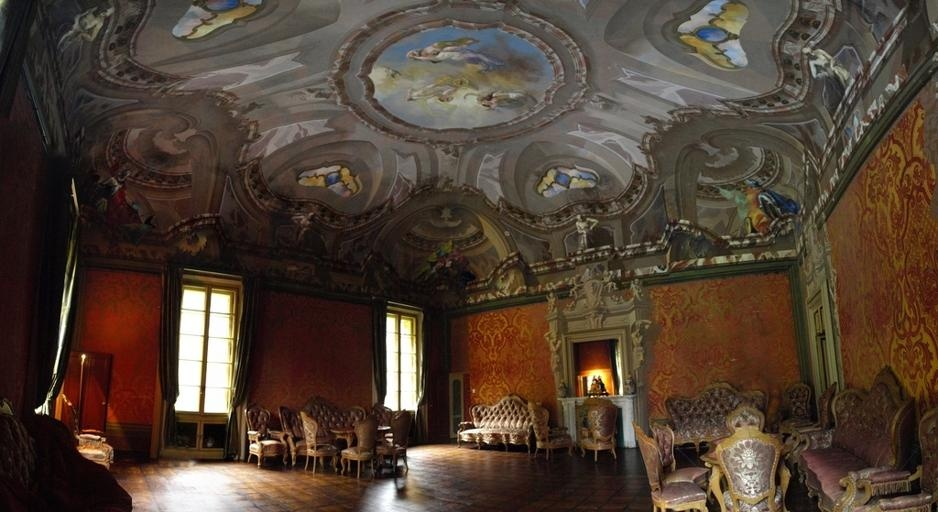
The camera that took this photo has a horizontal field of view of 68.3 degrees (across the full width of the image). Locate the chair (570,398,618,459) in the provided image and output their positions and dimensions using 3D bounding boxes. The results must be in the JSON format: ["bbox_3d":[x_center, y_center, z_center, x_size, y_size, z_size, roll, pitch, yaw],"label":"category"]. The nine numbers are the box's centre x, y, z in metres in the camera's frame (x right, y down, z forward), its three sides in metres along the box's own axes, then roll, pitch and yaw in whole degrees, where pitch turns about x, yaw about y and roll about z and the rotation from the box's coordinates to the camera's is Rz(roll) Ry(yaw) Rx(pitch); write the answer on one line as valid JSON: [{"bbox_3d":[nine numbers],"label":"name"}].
[{"bbox_3d":[3.390,4.514,18.394,1.156,1.571,2.566,0,0,8],"label":"chair"}]

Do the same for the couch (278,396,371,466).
[{"bbox_3d":[-3.822,4.285,18.139,2.652,1.668,1.466,9,-37,-29],"label":"couch"}]

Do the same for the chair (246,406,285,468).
[{"bbox_3d":[-5.265,4.679,17.663,0.962,1.420,0.999,-19,-23,40],"label":"chair"}]
